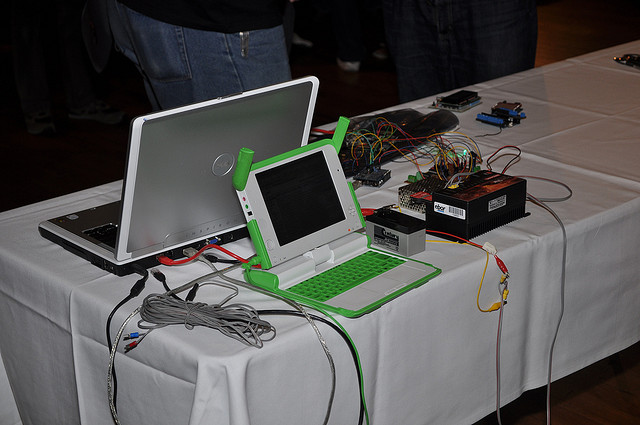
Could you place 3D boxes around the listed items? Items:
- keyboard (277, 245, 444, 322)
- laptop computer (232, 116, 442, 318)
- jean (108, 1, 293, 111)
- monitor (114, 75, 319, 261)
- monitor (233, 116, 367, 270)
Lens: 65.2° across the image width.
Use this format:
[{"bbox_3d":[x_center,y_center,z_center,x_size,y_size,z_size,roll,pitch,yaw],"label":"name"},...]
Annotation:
[{"bbox_3d":[0.088,0.153,1.273,0.281,0.048,0.381,12,19,40],"label":"keyboard"},{"bbox_3d":[0.044,0.006,1.197,0.404,0.344,0.420,-19,30,-36],"label":"laptop computer"},{"bbox_3d":[-0.496,-0.603,2.149,0.668,0.522,0.614,-12,40,-13],"label":"jean"},{"bbox_3d":[-0.357,-0.121,1.414,0.507,0.340,0.300,-14,26,-43],"label":"monitor"},{"bbox_3d":[-0.063,-0.038,1.295,0.369,0.302,0.184,-23,49,-30],"label":"monitor"}]
